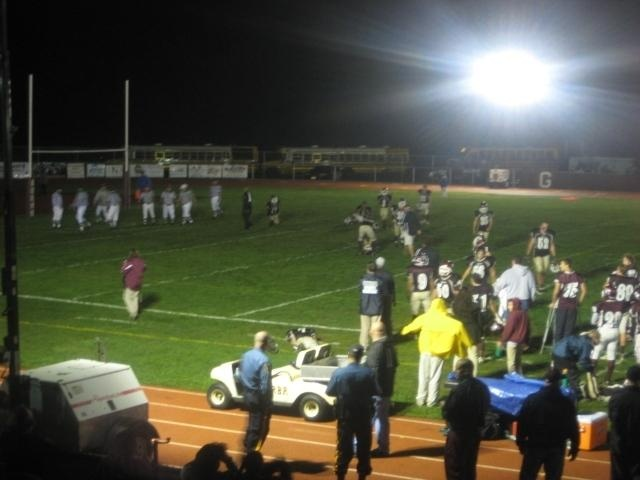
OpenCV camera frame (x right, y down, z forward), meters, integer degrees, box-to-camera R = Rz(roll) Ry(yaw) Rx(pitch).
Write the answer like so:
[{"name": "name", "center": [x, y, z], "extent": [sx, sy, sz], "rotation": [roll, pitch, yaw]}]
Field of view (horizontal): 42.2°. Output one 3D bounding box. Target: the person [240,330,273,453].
[{"name": "person", "center": [-1.124, 2.674, 14.651], "extent": [0.549, 2.045, 0.522], "rotation": [0, 3, -18]}]

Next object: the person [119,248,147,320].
[{"name": "person", "center": [-5.518, 1.299, 24.511], "extent": [0.587, 2.123, 1.392], "rotation": [1, 3, -13]}]
